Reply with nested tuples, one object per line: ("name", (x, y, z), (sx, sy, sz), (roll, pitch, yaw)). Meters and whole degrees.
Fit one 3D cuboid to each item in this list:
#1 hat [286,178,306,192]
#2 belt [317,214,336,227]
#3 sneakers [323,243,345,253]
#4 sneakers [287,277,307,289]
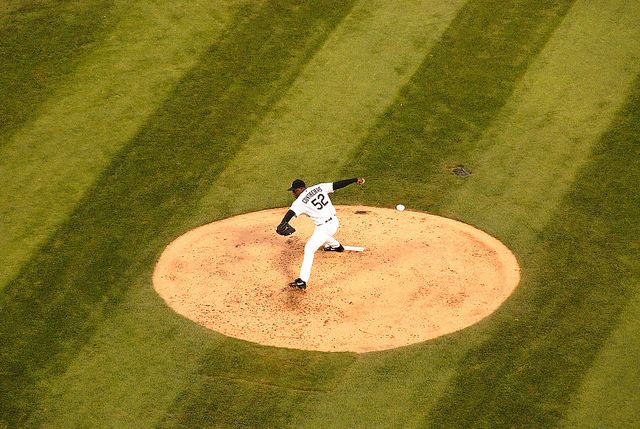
("hat", (-0.766, -0.828, 35.263), (0.459, 0.235, 0.297), (-9, 20, 6))
("belt", (0.123, 0.161, 35.269), (0.325, 0.299, 0.072), (-19, 86, -32))
("sneakers", (0.286, 0.956, 36.070), (0.587, 0.214, 0.173), (3, 47, 3))
("sneakers", (-0.685, 1.898, 34.965), (0.592, 0.228, 0.193), (6, 46, 10))
